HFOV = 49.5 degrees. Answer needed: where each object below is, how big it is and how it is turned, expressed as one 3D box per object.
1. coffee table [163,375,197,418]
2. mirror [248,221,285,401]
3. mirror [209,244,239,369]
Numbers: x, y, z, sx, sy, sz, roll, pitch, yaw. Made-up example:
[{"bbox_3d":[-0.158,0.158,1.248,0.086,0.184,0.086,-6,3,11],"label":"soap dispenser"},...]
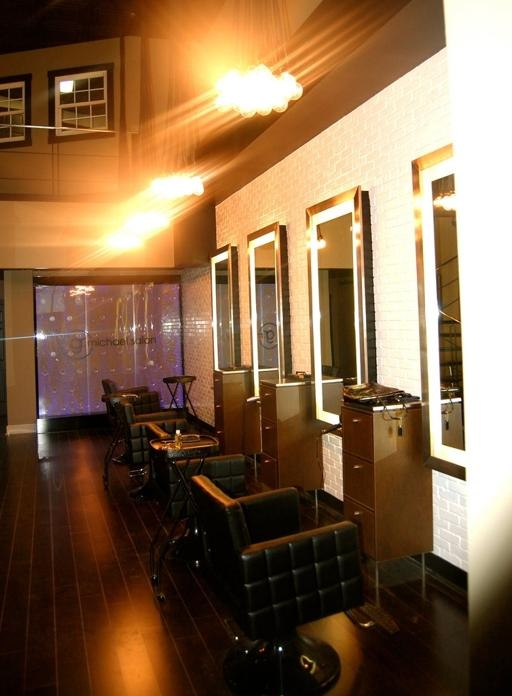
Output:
[{"bbox_3d":[-1.302,0.823,9.717,0.659,0.931,0.688,1,-3,-18],"label":"coffee table"},{"bbox_3d":[0.131,-0.373,5.951,0.271,1.305,1.154,-2,1,-8],"label":"mirror"},{"bbox_3d":[-0.414,-0.523,7.418,0.249,1.249,1.254,-2,1,-10],"label":"mirror"}]
